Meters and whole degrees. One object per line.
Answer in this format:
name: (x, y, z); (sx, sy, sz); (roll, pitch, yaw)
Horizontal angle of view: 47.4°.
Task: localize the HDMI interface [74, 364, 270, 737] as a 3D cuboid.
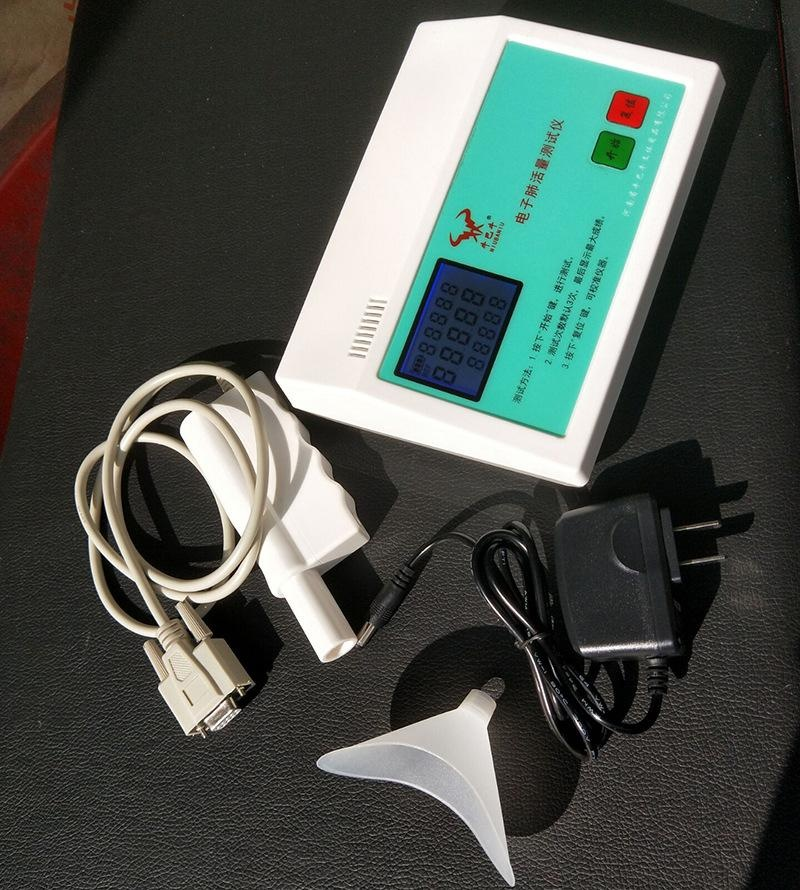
HDMI interface: (-0.189, 0.083, 0.799); (0.225, 0.040, 0.319); (-24, 71, 22)
